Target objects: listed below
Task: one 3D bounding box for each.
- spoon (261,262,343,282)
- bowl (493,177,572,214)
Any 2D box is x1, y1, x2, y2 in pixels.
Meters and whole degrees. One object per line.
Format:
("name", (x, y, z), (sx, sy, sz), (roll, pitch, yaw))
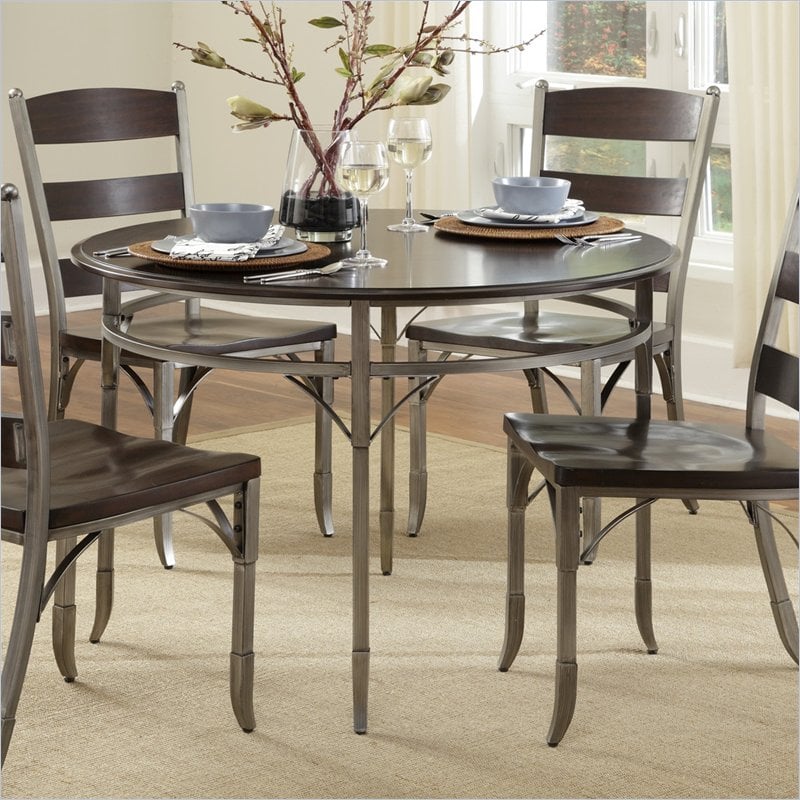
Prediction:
("spoon", (-0.135, -0.176, 1.196), (0.052, 0.023, 0.154), (4, 9, 28))
("bowl", (0.238, -0.382, 1.620), (0.119, 0.043, 0.106), (-3, 9, -17))
